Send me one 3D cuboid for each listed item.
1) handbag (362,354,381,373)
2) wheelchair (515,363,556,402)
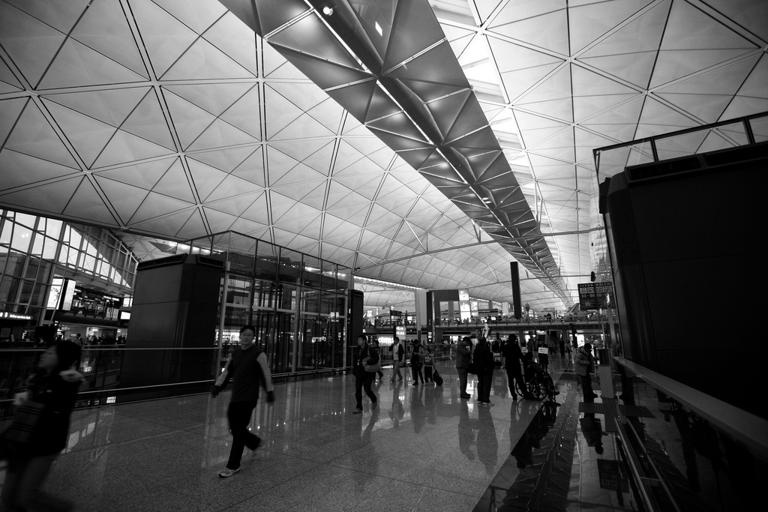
[{"bbox_3d":[-0.383,3.763,15.798,0.640,0.605,0.425,2,-10,3],"label":"handbag"},{"bbox_3d":[5.830,4.769,17.788,1.589,1.178,1.155,-2,1,37],"label":"wheelchair"}]
